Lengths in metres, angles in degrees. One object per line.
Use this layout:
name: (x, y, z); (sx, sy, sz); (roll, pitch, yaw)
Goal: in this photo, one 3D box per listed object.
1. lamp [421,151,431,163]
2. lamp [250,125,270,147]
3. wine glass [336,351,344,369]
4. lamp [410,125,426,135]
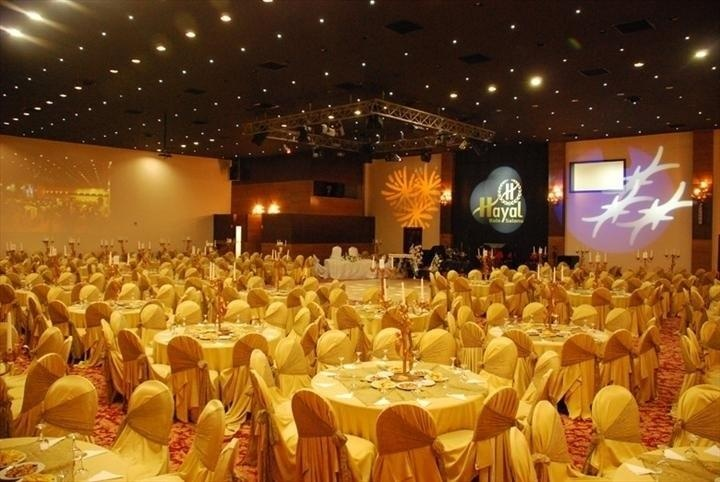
lamp: (2.367, -3.007, 18.411); (0.258, 0.455, 0.940); (1, 0, 10)
lamp: (-3.205, -3.307, 16.437); (0.482, 0.187, 0.718); (1, 26, 19)
wine glass: (-0.240, 1.549, 6.724); (0.136, 0.165, 0.150); (-1, -8, 15)
lamp: (1.780, -3.355, 15.536); (0.439, 0.224, 0.338); (1, 0, -22)
